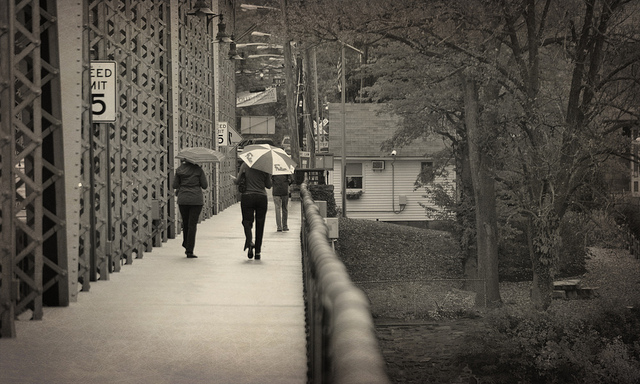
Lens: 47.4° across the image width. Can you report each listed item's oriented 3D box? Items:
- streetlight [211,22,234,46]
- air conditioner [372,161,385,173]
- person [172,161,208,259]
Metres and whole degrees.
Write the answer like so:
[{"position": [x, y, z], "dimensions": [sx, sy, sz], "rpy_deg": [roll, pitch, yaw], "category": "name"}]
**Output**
[{"position": [-3.582, -5.924, 26.888], "dimensions": [0.580, 0.805, 0.858], "rpy_deg": [1, -1, -6], "category": "streetlight"}, {"position": [4.234, -1.915, 53.192], "dimensions": [1.005, 0.885, 0.525], "rpy_deg": [0, -1, 4], "category": "air conditioner"}, {"position": [-3.614, 0.510, 20.080], "dimensions": [0.883, 2.576, 0.977], "rpy_deg": [1, 0, -13], "category": "person"}]
